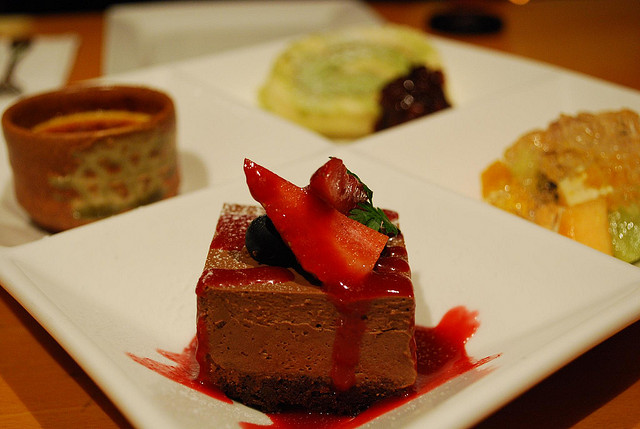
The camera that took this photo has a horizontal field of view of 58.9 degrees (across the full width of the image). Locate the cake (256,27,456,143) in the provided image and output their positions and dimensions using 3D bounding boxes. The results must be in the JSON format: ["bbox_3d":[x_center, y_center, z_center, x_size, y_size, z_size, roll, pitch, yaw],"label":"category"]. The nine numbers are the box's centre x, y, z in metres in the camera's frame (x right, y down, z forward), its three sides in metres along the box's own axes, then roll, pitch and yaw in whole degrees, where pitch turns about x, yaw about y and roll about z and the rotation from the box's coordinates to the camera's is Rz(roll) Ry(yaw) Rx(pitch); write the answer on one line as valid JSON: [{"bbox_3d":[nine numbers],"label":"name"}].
[{"bbox_3d":[0.139,-0.563,2.446,0.585,0.196,0.738,26,32,24],"label":"cake"}]

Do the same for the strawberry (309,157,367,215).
[{"bbox_3d":[0.056,-0.081,1.747,0.075,0.201,0.116,24,78,49],"label":"strawberry"}]

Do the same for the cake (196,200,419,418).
[{"bbox_3d":[-0.015,0.287,1.803,0.724,0.446,0.561,7,46,3],"label":"cake"}]
